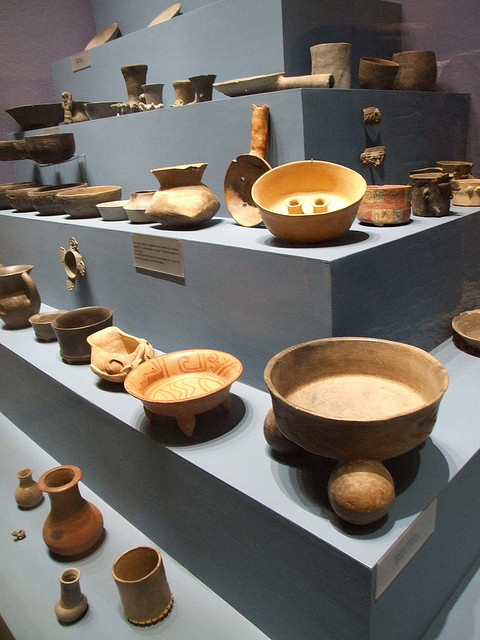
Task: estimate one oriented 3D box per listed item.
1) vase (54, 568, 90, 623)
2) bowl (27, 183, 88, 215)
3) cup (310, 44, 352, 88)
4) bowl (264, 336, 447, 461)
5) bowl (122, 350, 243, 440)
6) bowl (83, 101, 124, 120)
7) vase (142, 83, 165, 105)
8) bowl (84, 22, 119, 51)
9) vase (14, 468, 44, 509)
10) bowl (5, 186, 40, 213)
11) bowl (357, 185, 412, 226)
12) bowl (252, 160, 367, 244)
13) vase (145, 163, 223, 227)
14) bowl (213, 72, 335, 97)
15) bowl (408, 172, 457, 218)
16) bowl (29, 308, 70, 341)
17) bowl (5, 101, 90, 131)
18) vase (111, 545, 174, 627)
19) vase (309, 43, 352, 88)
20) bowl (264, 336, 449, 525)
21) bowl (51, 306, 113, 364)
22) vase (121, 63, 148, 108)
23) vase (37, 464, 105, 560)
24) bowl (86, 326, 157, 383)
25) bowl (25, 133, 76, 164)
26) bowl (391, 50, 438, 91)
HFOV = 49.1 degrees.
[{"bbox_3d":[-0.446,0.728,1.386,0.095,0.113,0.077,-1,11,-5],"label":"vase"},{"bbox_3d":[-1.079,-0.674,3.027,0.291,0.112,0.285,-2,15,1],"label":"bowl"},{"bbox_3d":[0.389,-1.073,2.262,0.186,0.174,0.173,-2,19,1],"label":"cup"},{"bbox_3d":[0.262,0.165,1.160,0.389,0.123,0.330,-8,27,-5],"label":"bowl"},{"bbox_3d":[-0.167,0.220,1.552,0.297,0.118,0.268,0,27,1],"label":"bowl"},{"bbox_3d":[-0.766,-1.169,2.949,0.147,0.050,0.159,-3,17,1],"label":"bowl"},{"bbox_3d":[-0.482,-1.262,2.958,0.110,0.103,0.226,-10,22,-5],"label":"vase"},{"bbox_3d":[-1.041,-2.153,3.981,0.253,0.150,0.328,-13,23,-14],"label":"bowl"},{"bbox_3d":[-0.765,0.610,1.869,0.101,0.118,0.096,-4,4,-43],"label":"vase"},{"bbox_3d":[-1.338,-0.726,3.193,0.204,0.125,0.216,-1,15,0],"label":"bowl"},{"bbox_3d":[0.511,-0.408,1.873,0.201,0.112,0.205,-4,15,1],"label":"bowl"},{"bbox_3d":[0.227,-0.291,1.579,0.253,0.104,0.244,-5,24,2],"label":"bowl"},{"bbox_3d":[-0.223,-0.497,2.103,0.312,0.223,0.318,2,24,10],"label":"vase"},{"bbox_3d":[0.112,-0.888,1.993,0.483,0.068,0.101,13,30,40],"label":"bowl"},{"bbox_3d":[0.724,-0.462,1.946,0.170,0.173,0.205,-14,19,-42],"label":"bowl"},{"bbox_3d":[-0.856,0.022,2.442,0.198,0.078,0.168,-6,26,-13],"label":"bowl"},{"bbox_3d":[-1.309,-1.321,3.414,0.345,0.069,0.254,-8,4,-39],"label":"bowl"},{"bbox_3d":[-0.237,0.676,1.311,0.127,0.209,0.105,-17,26,-18],"label":"vase"},{"bbox_3d":[0.399,-1.078,2.261,0.190,0.171,0.179,16,26,42],"label":"vase"},{"bbox_3d":[0.242,0.235,1.157,0.417,0.233,0.396,-4,23,2],"label":"bowl"},{"bbox_3d":[-0.655,0.045,2.115,0.274,0.174,0.235,-16,26,-28],"label":"bowl"},{"bbox_3d":[-0.612,-1.372,3.117,0.182,0.250,0.181,2,20,7],"label":"vase"},{"bbox_3d":[-0.520,0.586,1.593,0.206,0.241,0.189,-19,23,-14],"label":"vase"},{"bbox_3d":[-0.424,0.126,1.888,0.224,0.105,0.238,-1,30,1],"label":"bowl"},{"bbox_3d":[-1.069,-0.961,2.972,0.271,0.159,0.161,-9,23,-6],"label":"bowl"},{"bbox_3d":[0.887,-1.254,2.658,0.220,0.182,0.201,-3,27,2],"label":"bowl"}]
